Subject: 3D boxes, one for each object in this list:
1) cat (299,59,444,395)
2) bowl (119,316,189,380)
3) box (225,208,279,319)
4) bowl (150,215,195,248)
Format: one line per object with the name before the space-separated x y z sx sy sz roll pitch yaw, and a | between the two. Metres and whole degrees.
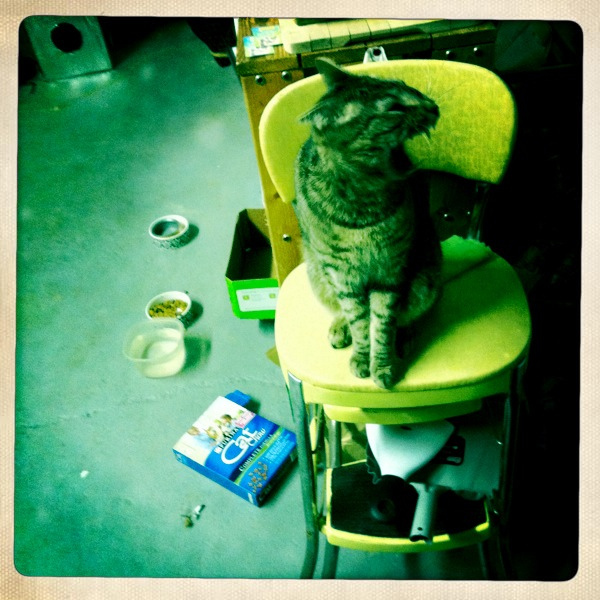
cat | 0.123 -0.113 1.048 0.228 0.492 0.518 0 9 5
bowl | -0.388 0.120 1.610 0.165 0.098 0.171 -4 47 4
box | -0.136 -0.082 1.659 0.131 0.225 0.341 -11 47 -3
bowl | -0.405 -0.212 1.880 0.110 0.053 0.110 -3 21 1
